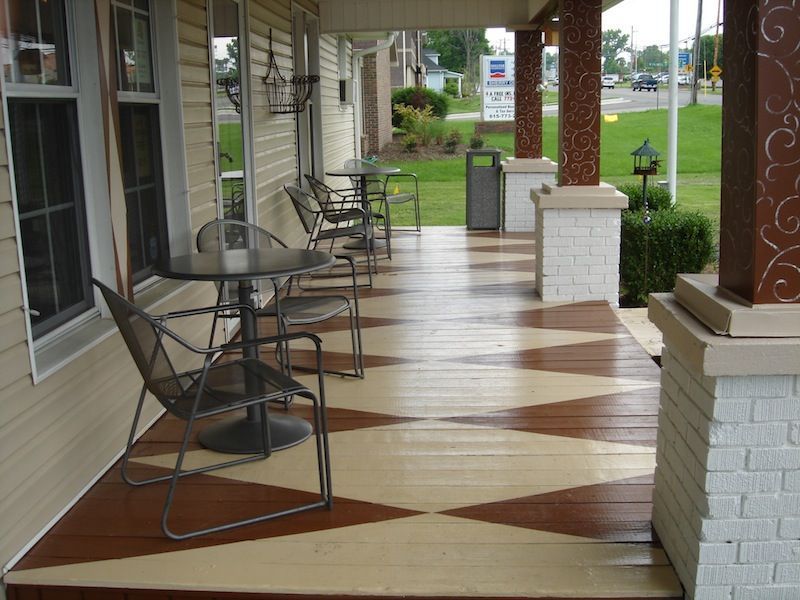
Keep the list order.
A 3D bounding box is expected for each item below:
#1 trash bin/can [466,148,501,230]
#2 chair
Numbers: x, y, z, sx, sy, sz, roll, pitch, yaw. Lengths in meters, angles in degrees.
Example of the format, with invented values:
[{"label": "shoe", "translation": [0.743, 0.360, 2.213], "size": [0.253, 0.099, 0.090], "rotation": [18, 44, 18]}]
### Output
[{"label": "trash bin/can", "translation": [1.122, -1.473, 8.880], "size": [0.470, 1.070, 0.488], "rotation": [0, 16, 7]}, {"label": "chair", "translation": [-0.616, 0.270, 3.063], "size": [1.324, 1.216, 0.917], "rotation": [-6, 19, -25]}]
